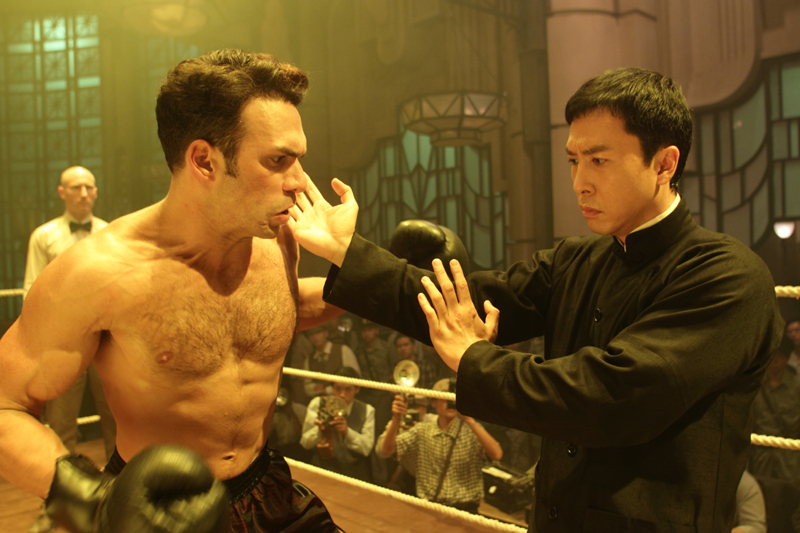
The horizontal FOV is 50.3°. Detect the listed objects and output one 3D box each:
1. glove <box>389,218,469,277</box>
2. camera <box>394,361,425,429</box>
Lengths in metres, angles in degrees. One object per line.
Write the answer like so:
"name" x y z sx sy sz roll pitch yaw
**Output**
"glove" 0.130 -0.099 4.306 0.327 0.305 0.242 8 6 -15
"camera" 0.040 0.923 6.084 0.230 0.521 0.245 7 -6 -27
